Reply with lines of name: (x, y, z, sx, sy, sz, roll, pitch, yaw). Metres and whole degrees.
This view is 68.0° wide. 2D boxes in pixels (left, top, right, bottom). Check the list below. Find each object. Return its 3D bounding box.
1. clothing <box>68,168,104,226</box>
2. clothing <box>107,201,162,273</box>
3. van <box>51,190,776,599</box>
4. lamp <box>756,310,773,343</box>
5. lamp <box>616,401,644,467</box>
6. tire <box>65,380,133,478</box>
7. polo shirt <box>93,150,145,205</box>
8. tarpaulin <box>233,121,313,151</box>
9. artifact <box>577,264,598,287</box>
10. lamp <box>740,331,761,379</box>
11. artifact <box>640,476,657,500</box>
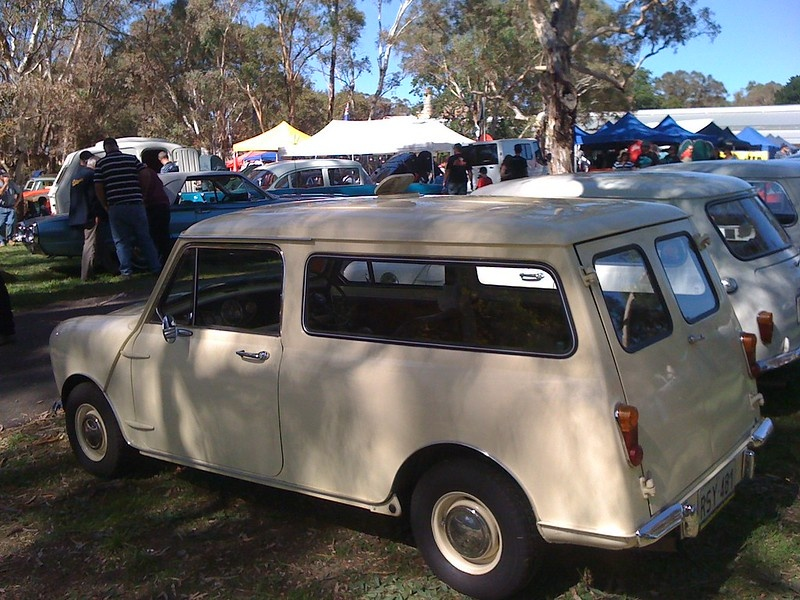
clothing: (-5.738, -1.907, 11.058, 0.790, 1.101, 0.534, 12, 15, 37)
clothing: (-4.804, -1.160, 10.894, 0.691, 1.513, 0.457, -11, 29, -22)
van: (0.007, 0.494, 3.852, 3.402, 1.590, 2.105, 6, 7, 30)
lamp: (2.765, 0.230, 4.515, 0.148, 0.289, 0.072, -10, 14, -26)
lamp: (1.023, 0.607, 2.647, 0.143, 0.283, 0.091, -7, 13, -18)
tire: (-2.201, 0.965, 4.456, 0.635, 0.716, 0.240, 1, 6, 22)
polo shirt: (-4.888, -2.135, 10.466, 0.984, 1.100, 0.563, -1, 9, 4)
tarpaulin: (-6.049, -7.530, 27.808, 2.750, 1.192, 2.172, -4, 10, 6)
artifact: (0.888, -0.115, 2.787, 0.099, 0.090, 0.045, -7, 14, -19)
lamp: (2.174, 0.327, 3.682, 0.085, 0.237, 0.252, -13, -2, 32)
artifact: (1.120, 0.851, 2.675, 0.106, 0.112, 0.034, -10, 15, -29)
